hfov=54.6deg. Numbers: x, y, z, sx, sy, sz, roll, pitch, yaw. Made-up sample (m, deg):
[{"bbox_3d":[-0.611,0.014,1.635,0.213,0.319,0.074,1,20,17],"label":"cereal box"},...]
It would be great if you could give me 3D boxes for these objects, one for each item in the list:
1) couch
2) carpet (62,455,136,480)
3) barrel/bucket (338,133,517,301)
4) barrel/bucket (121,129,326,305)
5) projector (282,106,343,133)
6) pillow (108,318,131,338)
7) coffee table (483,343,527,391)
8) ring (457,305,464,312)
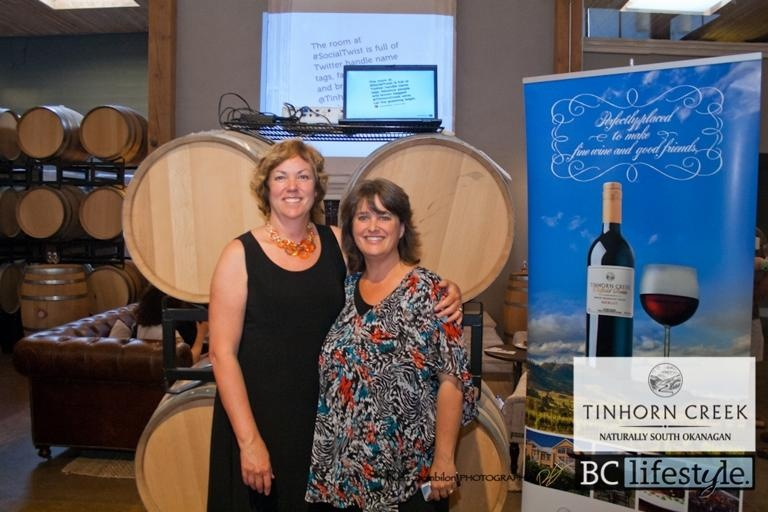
[{"bbox_3d":[-2.315,0.758,6.194,0.909,0.815,1.659,3,1,2],"label":"couch"},{"bbox_3d":[-2.252,1.694,5.961,0.629,0.068,0.284,2,3,9],"label":"carpet"},{"bbox_3d":[0.302,-0.249,5.143,0.984,1.057,0.987,15,5,-1],"label":"barrel/bucket"},{"bbox_3d":[-1.102,-0.256,5.195,1.000,1.047,0.969,-13,4,1],"label":"barrel/bucket"},{"bbox_3d":[-0.515,-0.985,5.328,0.410,0.198,0.367,1,3,-8],"label":"projector"},{"bbox_3d":[-2.289,0.636,6.451,0.154,0.158,0.163,-24,9,-20],"label":"pillow"},{"bbox_3d":[1.134,1.016,6.643,0.456,0.530,0.481,0,6,14],"label":"coffee table"},{"bbox_3d":[0.444,0.302,4.348,0.037,0.040,0.039,-5,-13,-1],"label":"ring"}]
